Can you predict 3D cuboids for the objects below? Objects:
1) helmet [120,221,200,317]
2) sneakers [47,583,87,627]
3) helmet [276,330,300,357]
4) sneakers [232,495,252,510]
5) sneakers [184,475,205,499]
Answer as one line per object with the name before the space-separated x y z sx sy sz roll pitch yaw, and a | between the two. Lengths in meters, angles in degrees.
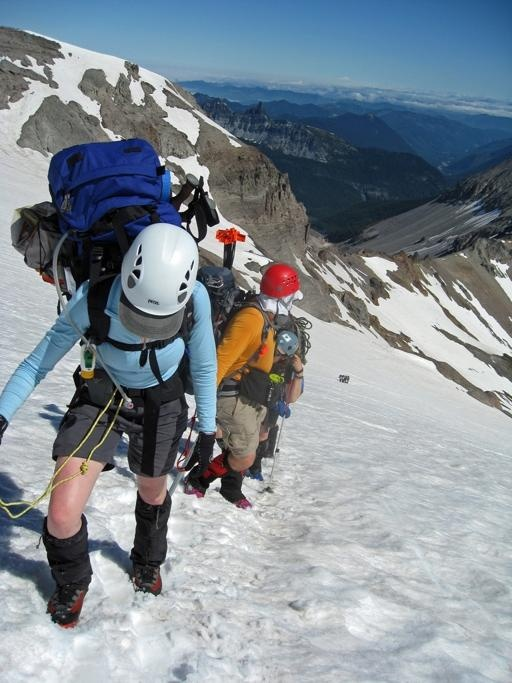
helmet | -0.687 -0.443 3.978 0.513 0.593 0.313 15 -7 -18
sneakers | -1.328 1.863 4.089 0.240 0.307 0.198 14 28 -13
helmet | 0.413 0.018 7.725 0.321 0.311 0.272 14 13 42
sneakers | -0.165 2.013 7.286 0.234 0.175 0.074 41 17 -33
sneakers | -0.712 1.705 6.819 0.186 0.192 0.467 13 -18 -17
